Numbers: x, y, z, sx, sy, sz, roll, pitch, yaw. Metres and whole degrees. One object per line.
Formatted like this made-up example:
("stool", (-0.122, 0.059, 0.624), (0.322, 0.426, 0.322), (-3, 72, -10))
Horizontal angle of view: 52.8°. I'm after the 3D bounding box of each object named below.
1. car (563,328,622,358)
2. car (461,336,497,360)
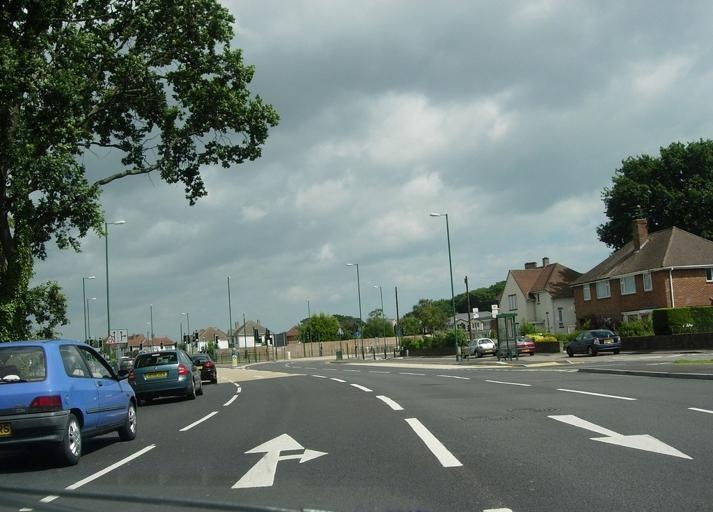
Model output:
("car", (13.566, 4.923, 41.170), (1.392, 1.307, 3.103), (0, -4, -13))
("car", (8.660, 6.407, 50.661), (1.082, 1.063, 2.581), (0, -6, -10))
